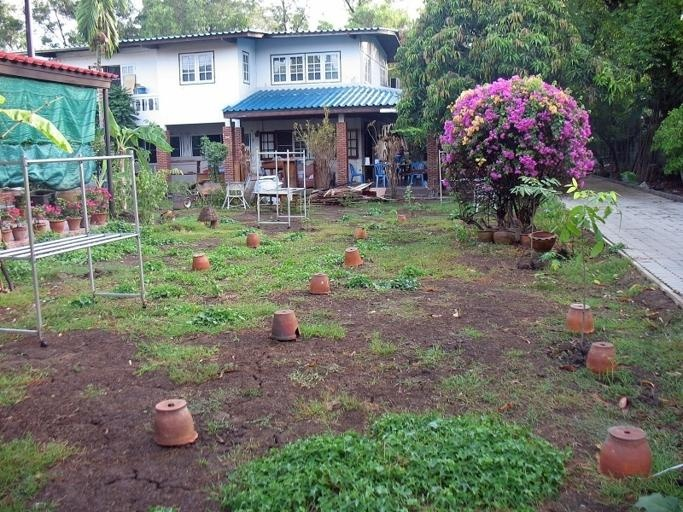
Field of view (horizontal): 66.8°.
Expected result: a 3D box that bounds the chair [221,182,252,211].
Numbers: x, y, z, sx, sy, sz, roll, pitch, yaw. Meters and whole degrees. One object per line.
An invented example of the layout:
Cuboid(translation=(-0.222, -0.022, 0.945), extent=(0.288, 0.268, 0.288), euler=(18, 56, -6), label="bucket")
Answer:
Cuboid(translation=(-3.721, -2.121, 18.158), extent=(0.855, 1.492, 0.989), euler=(0, 1, -13), label="chair")

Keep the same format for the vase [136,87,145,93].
Cuboid(translation=(-9.286, -7.657, 23.944), extent=(0.365, 0.400, 0.222), euler=(-1, 5, -9), label="vase")
